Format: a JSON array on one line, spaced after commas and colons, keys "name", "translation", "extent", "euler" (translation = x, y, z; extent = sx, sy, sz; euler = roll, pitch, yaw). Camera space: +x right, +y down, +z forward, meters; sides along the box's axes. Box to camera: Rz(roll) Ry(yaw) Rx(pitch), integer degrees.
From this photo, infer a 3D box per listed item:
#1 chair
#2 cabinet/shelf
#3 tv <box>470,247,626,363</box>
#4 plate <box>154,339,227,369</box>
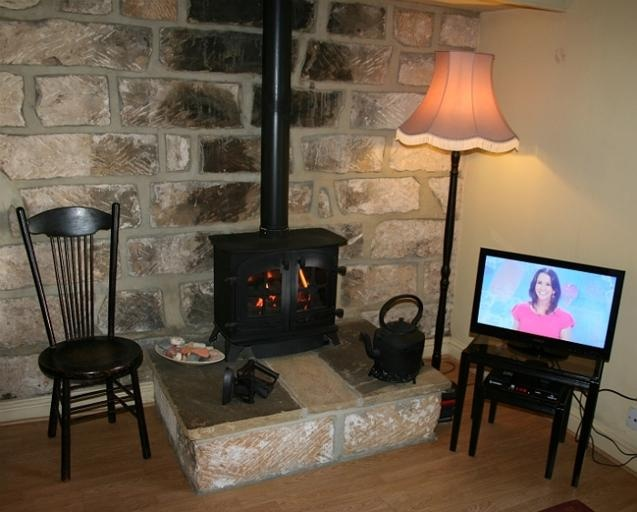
[{"name": "chair", "translation": [-1.177, 0.376, 2.562], "extent": [0.498, 1.259, 0.717], "euler": [-5, 16, -20]}, {"name": "cabinet/shelf", "translation": [1.011, 0.820, 2.612], "extent": [0.615, 0.481, 0.412], "euler": [14, -13, 24]}, {"name": "tv", "translation": [1.183, 0.264, 2.582], "extent": [0.692, 0.380, 0.069], "euler": [11, 9, 25]}, {"name": "plate", "translation": [-0.718, 0.515, 2.825], "extent": [0.340, 0.120, 0.287], "euler": [12, 17, 44]}]
